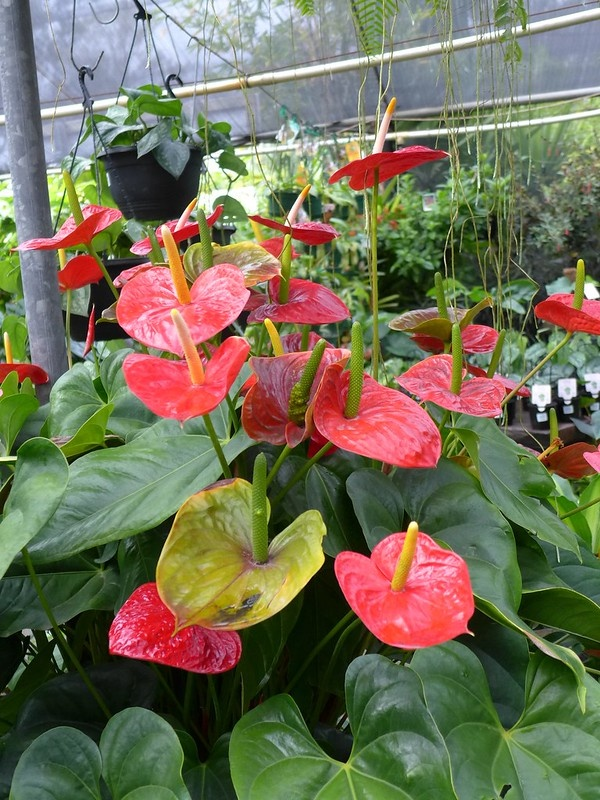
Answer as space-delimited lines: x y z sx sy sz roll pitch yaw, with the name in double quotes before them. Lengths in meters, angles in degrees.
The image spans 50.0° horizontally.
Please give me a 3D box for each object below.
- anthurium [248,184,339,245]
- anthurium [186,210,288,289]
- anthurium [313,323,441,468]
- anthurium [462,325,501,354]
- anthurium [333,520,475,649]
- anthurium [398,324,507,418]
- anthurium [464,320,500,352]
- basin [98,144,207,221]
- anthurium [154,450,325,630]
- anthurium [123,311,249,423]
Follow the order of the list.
"anthurium" -0.011 -0.193 0.736 0.088 0.050 0.111 5 7 -21
"anthurium" -0.057 -0.131 0.575 0.064 0.022 0.061 17 36 12
"anthurium" 0.040 -0.005 0.456 0.072 0.056 0.133 0 11 -14
"anthurium" 0.224 -0.076 0.798 0.042 0.042 0.018 14 -22 16
"anthurium" 0.065 0.119 0.395 0.094 0.044 0.098 6 34 8
"anthurium" 0.155 -0.047 0.654 0.078 0.061 0.080 7 9 12
"anthurium" 0.225 -0.077 0.797 0.040 0.040 0.017 0 -23 11
"basin" -0.296 -0.425 1.284 0.175 0.099 0.169 -1 3 0
"anthurium" -0.034 0.080 0.402 0.099 0.080 0.115 -2 16 1
"anthurium" -0.076 -0.029 0.420 0.086 0.062 0.100 1 16 13
